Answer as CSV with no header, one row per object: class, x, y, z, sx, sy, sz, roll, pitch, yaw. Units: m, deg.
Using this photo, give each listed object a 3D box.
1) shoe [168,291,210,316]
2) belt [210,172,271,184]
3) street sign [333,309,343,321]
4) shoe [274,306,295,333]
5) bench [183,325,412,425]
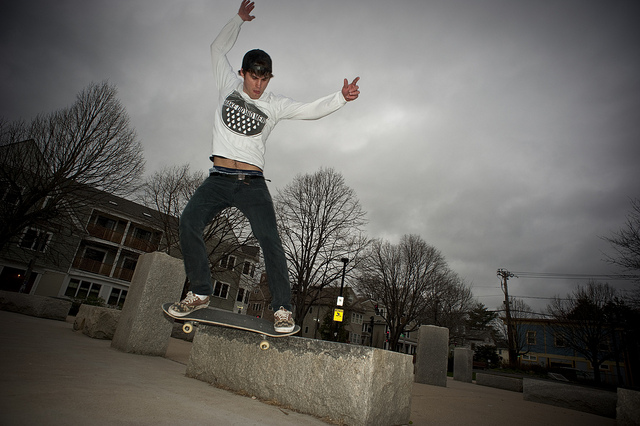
shoe,-2.029,1.376,5.249,0.694,0.245,0.293,-7,-48,-35
belt,-1.265,-0.530,5.008,0.487,0.098,0.270,5,-6,5
street sign,1.123,6.162,20.491,0.680,0.715,0.720,2,-6,-5
shoe,-0.538,1.584,5.039,0.323,0.365,0.208,8,-20,-5
bench,-0.376,2.508,5.355,3.382,1.069,0.959,-1,-21,20
